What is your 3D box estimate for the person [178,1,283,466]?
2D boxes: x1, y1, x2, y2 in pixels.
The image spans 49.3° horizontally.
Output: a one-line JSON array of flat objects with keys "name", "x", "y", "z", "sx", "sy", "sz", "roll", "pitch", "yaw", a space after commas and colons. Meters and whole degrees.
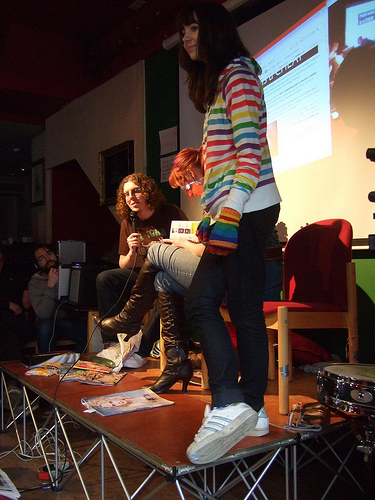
[{"name": "person", "x": 0.075, "y": -0.086, "z": 0.959, "sx": 0.248, "sy": 1.055, "sz": 0.327, "roll": -3, "pitch": -5, "yaw": 23}]

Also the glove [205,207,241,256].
[{"name": "glove", "x": 0.078, "y": -0.035, "z": 0.860, "sx": 0.064, "sy": 0.102, "sz": 0.041, "roll": 12, "pitch": -17, "yaw": 2}]

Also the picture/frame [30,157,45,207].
[{"name": "picture/frame", "x": -1.170, "y": -0.534, "z": 3.186, "sx": 0.103, "sy": 0.401, "sz": 0.238, "roll": 1, "pitch": -5, "yaw": -22}]

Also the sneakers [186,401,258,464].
[{"name": "sneakers", "x": 0.068, "y": 0.362, "z": 0.799, "sx": 0.135, "sy": 0.110, "sz": 0.072, "roll": -1, "pitch": -5, "yaw": 6}]

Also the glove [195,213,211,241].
[{"name": "glove", "x": 0.033, "y": -0.058, "z": 1.034, "sx": 0.020, "sy": 0.060, "sz": 0.043, "roll": 11, "pitch": 9, "yaw": -3}]

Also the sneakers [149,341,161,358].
[{"name": "sneakers", "x": -0.162, "y": 0.513, "z": 2.080, "sx": 0.046, "sy": 0.057, "sz": 0.135, "roll": 2, "pitch": -4, "yaw": -1}]

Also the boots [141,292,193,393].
[{"name": "boots", "x": -0.066, "y": 0.333, "z": 1.459, "sx": 0.168, "sy": 0.354, "sz": 0.081, "roll": 1, "pitch": -6, "yaw": 0}]

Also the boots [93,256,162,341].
[{"name": "boots", "x": -0.234, "y": 0.196, "z": 1.598, "sx": 0.192, "sy": 0.301, "sz": 0.075, "roll": 21, "pitch": 17, "yaw": 1}]
